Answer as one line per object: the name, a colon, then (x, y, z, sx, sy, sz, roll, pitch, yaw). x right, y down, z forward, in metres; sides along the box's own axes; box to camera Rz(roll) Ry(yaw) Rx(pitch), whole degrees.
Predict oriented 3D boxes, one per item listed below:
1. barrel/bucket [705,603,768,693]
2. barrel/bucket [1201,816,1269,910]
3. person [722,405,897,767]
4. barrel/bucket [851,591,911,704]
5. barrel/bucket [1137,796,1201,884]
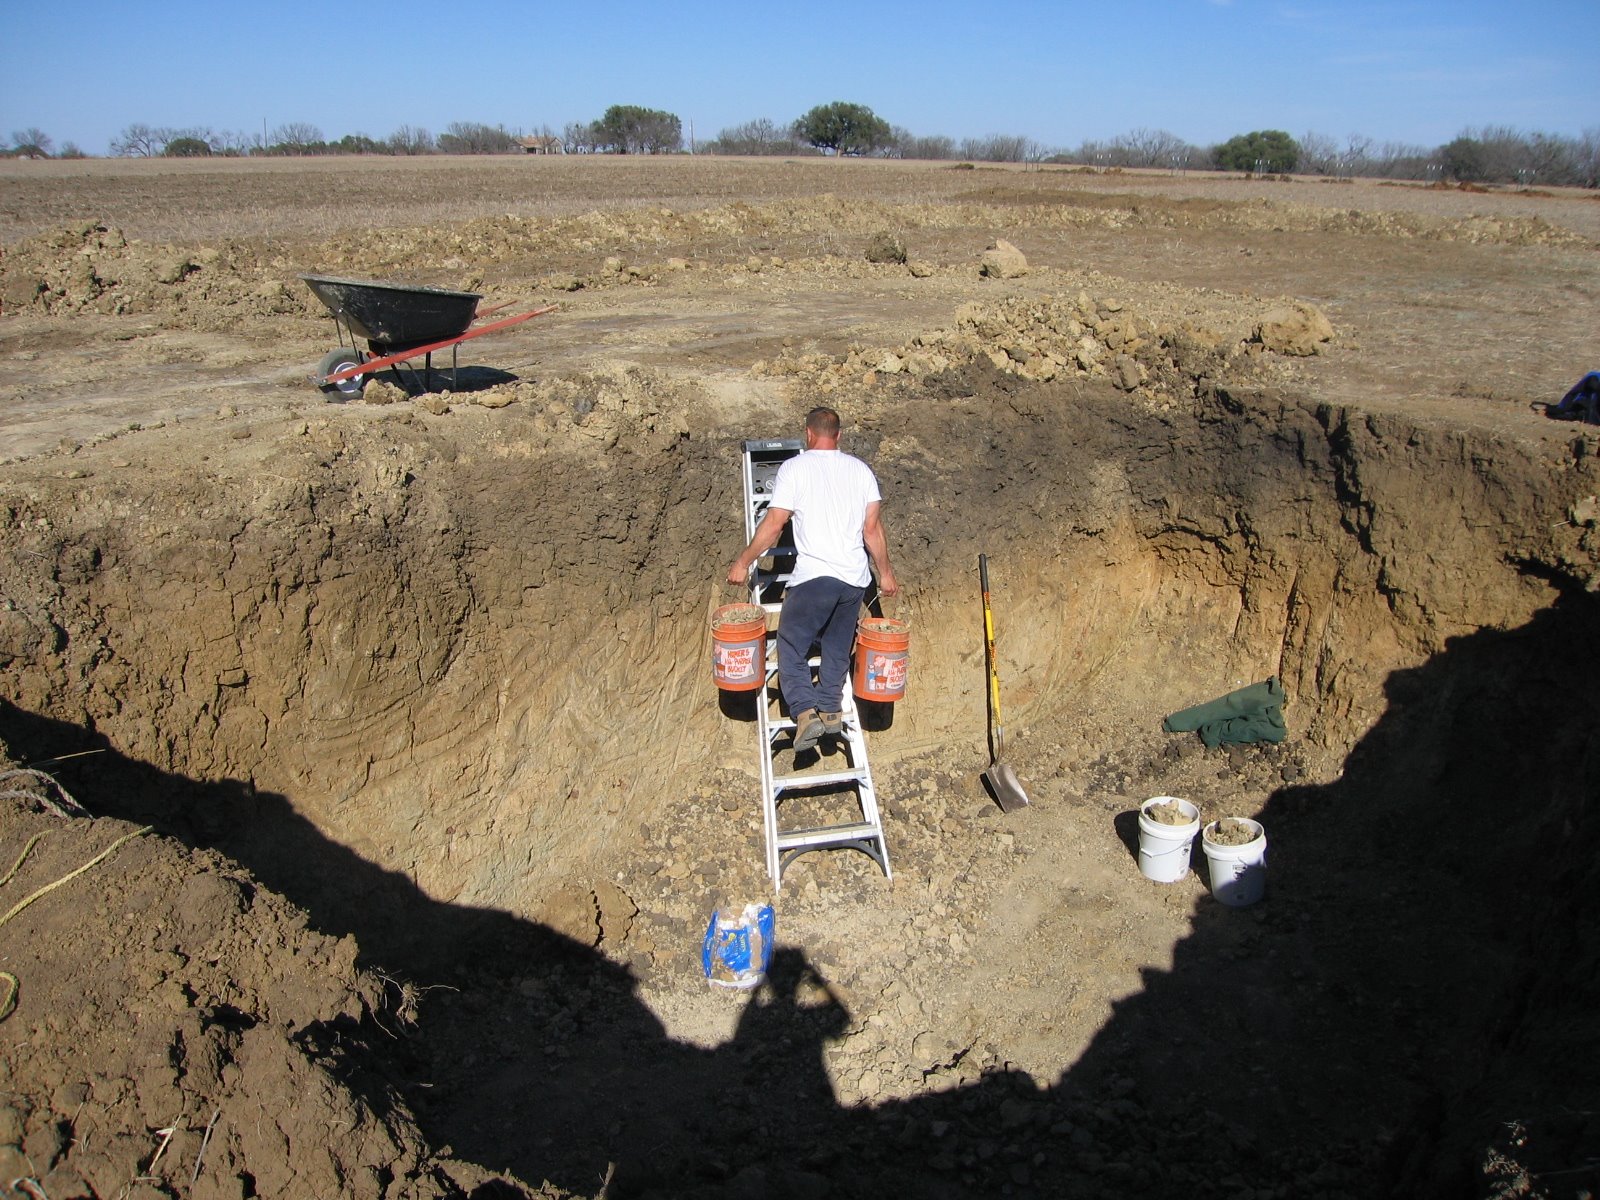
barrel/bucket: (-0.412, 0.284, 7.353, 0.470, 0.500, 0.466, 0, 9, 0)
barrel/bucket: (2.616, 1.580, 7.224, 0.471, 0.459, 0.473, -6, 11, 1)
person: (0.121, -0.104, 7.216, 0.657, 1.974, 0.882, 19, 32, 41)
barrel/bucket: (0.528, 0.383, 7.437, 0.350, 0.499, 0.331, 3, 11, -1)
barrel/bucket: (2.356, 1.533, 7.452, 0.388, 0.408, 0.382, -1, 20, 0)
